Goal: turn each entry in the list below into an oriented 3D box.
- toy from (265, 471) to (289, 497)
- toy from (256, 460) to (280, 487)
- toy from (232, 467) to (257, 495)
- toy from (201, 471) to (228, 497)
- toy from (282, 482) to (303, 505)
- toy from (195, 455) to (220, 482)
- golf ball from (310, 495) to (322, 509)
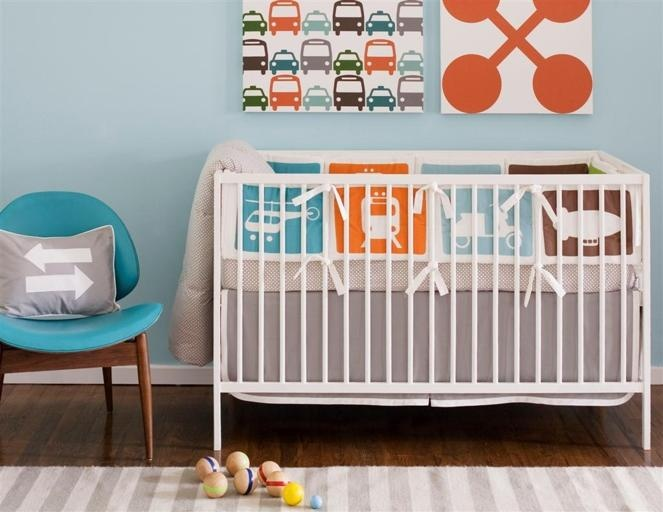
[{"bbox_3d":[-0.191,0.784,2.458,0.080,0.086,0.079,12,-16,-21],"label":"toy"},{"bbox_3d":[-0.225,0.756,2.513,0.073,0.077,0.083,8,-45,-2],"label":"toy"},{"bbox_3d":[-0.300,0.778,2.469,0.082,0.093,0.082,3,-7,20],"label":"toy"},{"bbox_3d":[-0.401,0.790,2.463,0.082,0.082,0.081,7,-23,9],"label":"toy"},{"bbox_3d":[-0.132,0.809,2.424,0.069,0.080,0.070,-15,-38,18],"label":"toy"},{"bbox_3d":[-0.443,0.747,2.533,0.074,0.077,0.078,16,-23,9],"label":"toy"},{"bbox_3d":[-0.050,0.836,2.431,0.045,0.043,0.026,-4,10,-23],"label":"golf ball"}]
